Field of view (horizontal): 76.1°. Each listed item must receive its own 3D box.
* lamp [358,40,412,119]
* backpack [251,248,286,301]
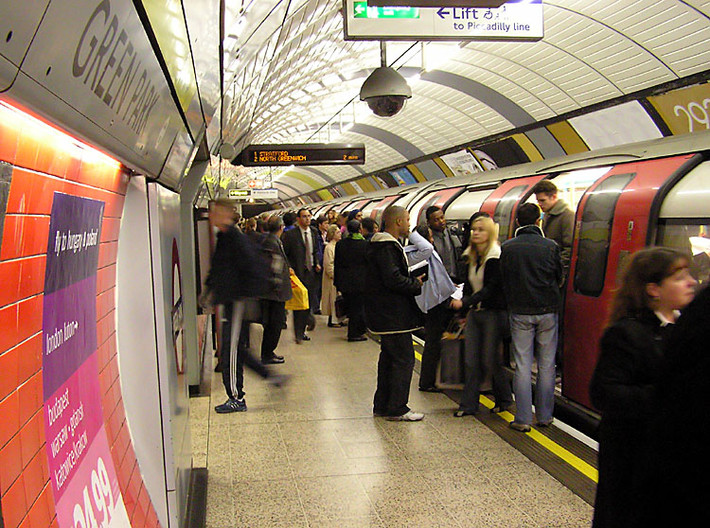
[{"bbox_3d":[0.522,-3.353,8.082,0.892,1.419,0.876,-4,3,-21],"label":"lamp"},{"bbox_3d":[-1.180,0.141,6.167,0.470,0.828,0.776,-1,4,-16],"label":"backpack"}]
